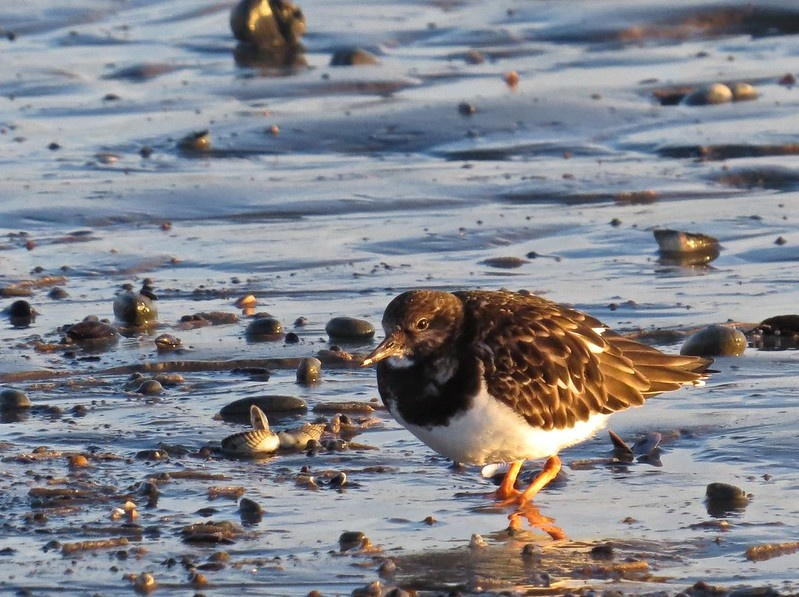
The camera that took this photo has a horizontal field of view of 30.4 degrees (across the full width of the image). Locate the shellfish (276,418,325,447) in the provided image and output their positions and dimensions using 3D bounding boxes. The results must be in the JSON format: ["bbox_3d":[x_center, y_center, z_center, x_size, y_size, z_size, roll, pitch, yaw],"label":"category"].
[{"bbox_3d":[-0.719,0.987,10.611,0.324,0.097,0.153,-9,5,-26],"label":"shellfish"}]
